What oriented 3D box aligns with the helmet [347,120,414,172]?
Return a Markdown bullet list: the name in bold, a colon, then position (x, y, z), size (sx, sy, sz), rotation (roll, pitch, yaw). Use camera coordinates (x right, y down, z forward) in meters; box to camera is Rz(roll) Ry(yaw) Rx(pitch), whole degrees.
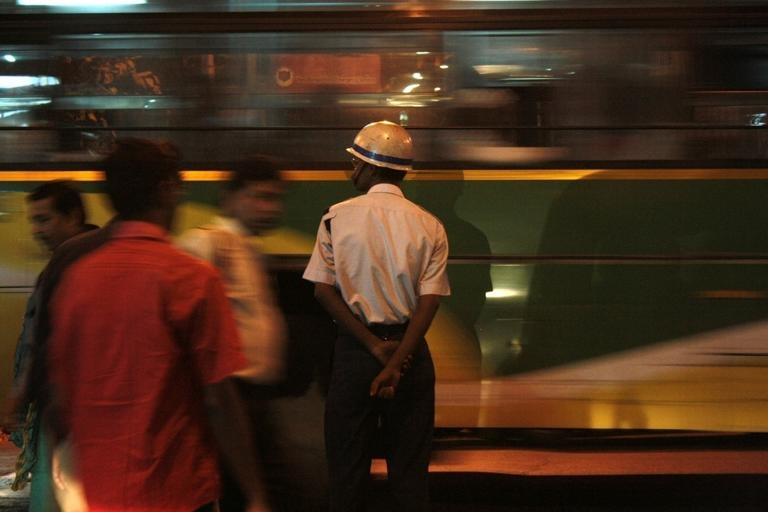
- **helmet**: position (0.010, -0.724, 5.938), size (0.451, 0.209, 0.366), rotation (21, 33, 29)
